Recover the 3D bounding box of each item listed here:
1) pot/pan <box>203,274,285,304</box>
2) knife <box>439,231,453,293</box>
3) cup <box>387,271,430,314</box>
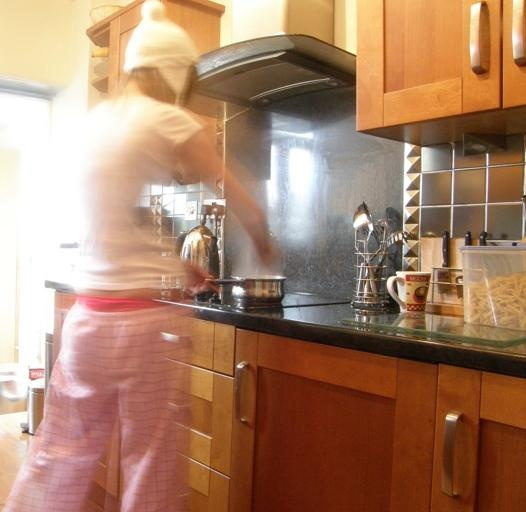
[{"bbox_3d":[-0.070,0.094,1.744,0.232,0.094,0.247,0,3,-31],"label":"pot/pan"},{"bbox_3d":[0.572,0.015,1.591,0.036,0.188,0.059,0,2,29],"label":"knife"},{"bbox_3d":[0.431,0.105,1.497,0.121,0.119,0.046,0,2,17],"label":"cup"}]
